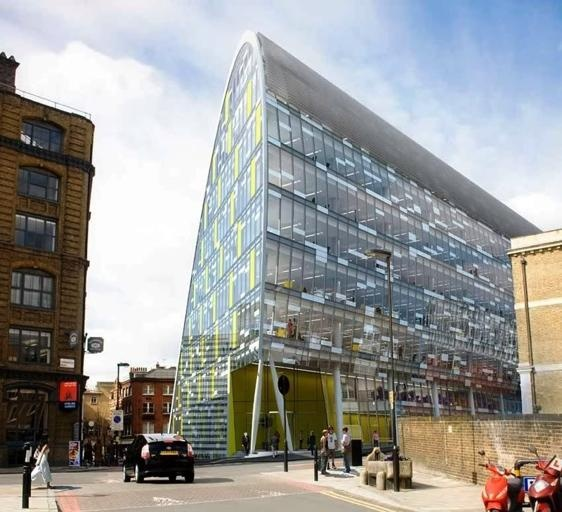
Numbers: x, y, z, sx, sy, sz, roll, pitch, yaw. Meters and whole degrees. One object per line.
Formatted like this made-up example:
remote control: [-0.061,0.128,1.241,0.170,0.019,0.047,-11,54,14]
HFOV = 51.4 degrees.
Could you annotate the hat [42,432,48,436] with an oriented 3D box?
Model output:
hat: [-14.605,10.993,36.114,0.284,0.294,0.308,-4,-18,14]
